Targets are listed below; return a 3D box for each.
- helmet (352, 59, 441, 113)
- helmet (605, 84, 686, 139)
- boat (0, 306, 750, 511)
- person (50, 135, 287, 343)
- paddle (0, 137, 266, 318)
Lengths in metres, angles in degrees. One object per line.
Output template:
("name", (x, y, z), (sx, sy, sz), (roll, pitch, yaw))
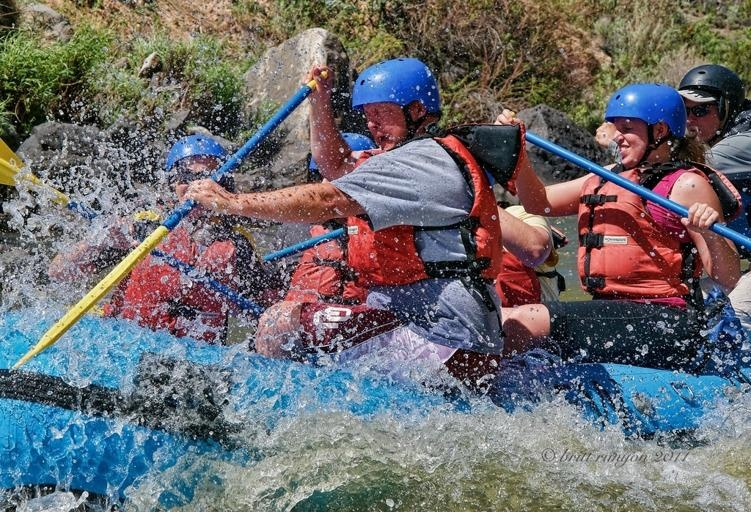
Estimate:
("helmet", (0.190, -1.554, 9.972), (0.664, 0.460, 0.492), (-13, 11, -4))
("helmet", (2.581, -1.385, 10.596), (0.674, 0.443, 0.501), (-5, 8, -2))
("boat", (-0.262, 1.361, 9.558), (4.710, 0.811, 2.486), (12, -5, -2))
("person", (-2.121, -0.124, 10.958), (2.755, 0.855, 1.562), (-23, 45, -28))
("paddle", (-2.550, -0.244, 11.238), (3.244, 0.583, 0.582), (30, 36, -1))
